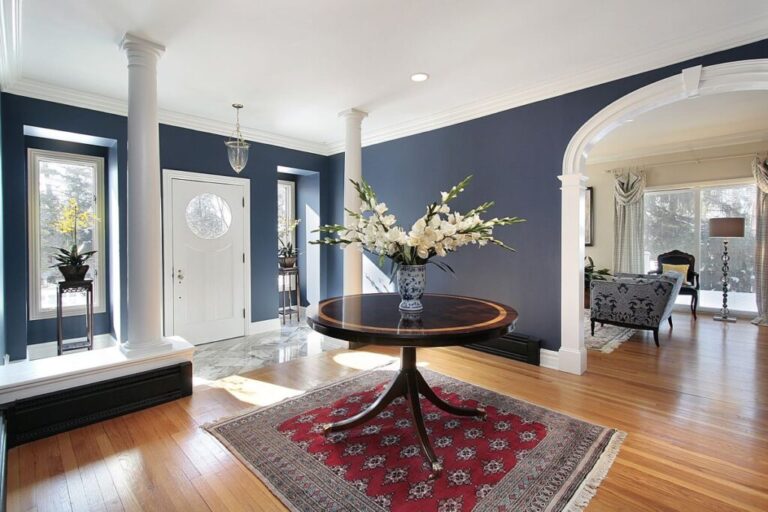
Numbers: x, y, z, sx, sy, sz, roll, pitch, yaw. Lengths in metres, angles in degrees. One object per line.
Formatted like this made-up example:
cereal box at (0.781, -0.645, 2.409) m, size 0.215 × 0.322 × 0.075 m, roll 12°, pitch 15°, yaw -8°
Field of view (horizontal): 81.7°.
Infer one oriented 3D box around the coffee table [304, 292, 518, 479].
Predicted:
coffee table at (0.354, 1.170, 3.994) m, size 1.533 × 0.940 × 1.561 m, roll 7°, pitch 10°, yaw 43°

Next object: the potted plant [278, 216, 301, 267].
potted plant at (-1.677, -0.214, 7.896) m, size 0.362 × 0.878 × 0.843 m, roll -2°, pitch 7°, yaw -10°

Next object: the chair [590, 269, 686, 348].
chair at (3.824, 0.652, 6.720) m, size 1.086 × 1.009 × 1.189 m, roll 2°, pitch 2°, yaw 38°

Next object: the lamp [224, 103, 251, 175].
lamp at (-2.070, -1.626, 6.270) m, size 0.291 × 0.879 × 1.033 m, roll -3°, pitch 7°, yaw -18°

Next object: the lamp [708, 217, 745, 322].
lamp at (5.915, 0.209, 7.729) m, size 0.467 × 1.758 × 0.852 m, roll 6°, pitch 9°, yaw 39°

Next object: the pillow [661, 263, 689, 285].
pillow at (4.812, 0.301, 7.310) m, size 0.133 × 0.315 × 0.352 m, roll 15°, pitch -7°, yaw -39°

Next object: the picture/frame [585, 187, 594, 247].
picture/frame at (4.264, -0.816, 9.216) m, size 0.136 × 1.258 × 0.226 m, roll 0°, pitch 7°, yaw 7°
